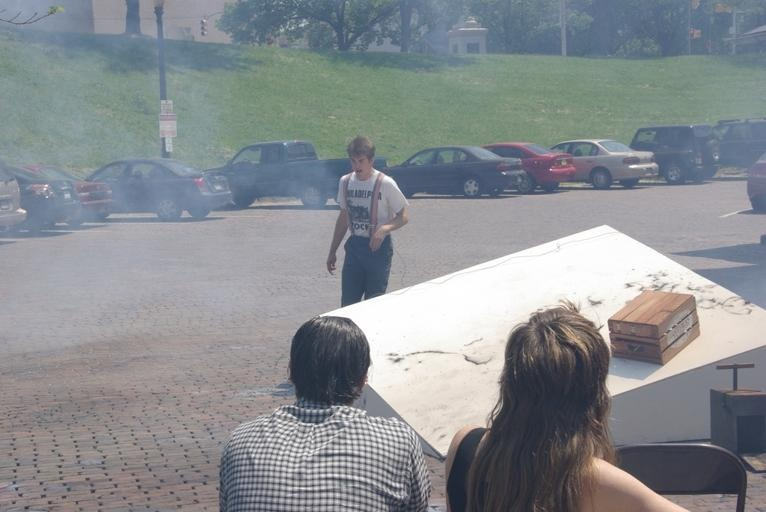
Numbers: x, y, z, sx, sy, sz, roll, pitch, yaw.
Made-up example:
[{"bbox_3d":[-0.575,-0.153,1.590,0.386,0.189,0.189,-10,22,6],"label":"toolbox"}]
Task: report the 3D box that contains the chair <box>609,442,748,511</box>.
[{"bbox_3d":[7.877,5.269,35.971,2.658,2.516,1.994,-1,22,2],"label":"chair"}]
